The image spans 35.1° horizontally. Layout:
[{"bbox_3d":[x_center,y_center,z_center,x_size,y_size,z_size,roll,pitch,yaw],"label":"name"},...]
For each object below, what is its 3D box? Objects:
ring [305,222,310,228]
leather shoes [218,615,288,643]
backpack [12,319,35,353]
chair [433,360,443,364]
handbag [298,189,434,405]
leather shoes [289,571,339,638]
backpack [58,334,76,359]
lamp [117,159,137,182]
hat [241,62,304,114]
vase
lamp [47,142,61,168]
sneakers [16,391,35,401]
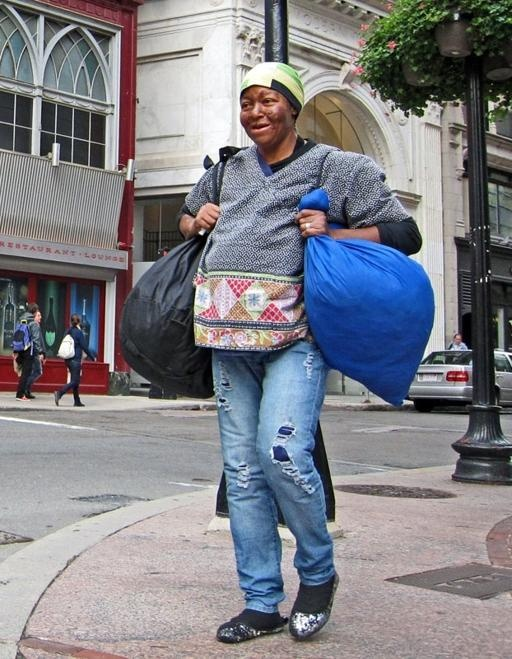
[{"bbox_3d":[0.166,-0.335,2.586,0.004,0.014,0.016,-3,18,-30],"label":"ring"},{"bbox_3d":[-0.017,0.929,2.526,0.219,0.074,0.075,-1,-4,-31],"label":"leather shoes"},{"bbox_3d":[-4.593,0.121,16.065,0.341,0.659,0.477,-1,3,-15],"label":"backpack"},{"bbox_3d":[4.269,0.754,19.028,0.114,0.120,0.140,-4,9,29],"label":"chair"},{"bbox_3d":[0.364,-0.023,2.586,0.420,0.558,0.225,-1,3,-4],"label":"handbag"},{"bbox_3d":[0.177,0.880,2.592,0.091,0.219,0.095,10,-23,32],"label":"leather shoes"},{"bbox_3d":[-3.668,0.338,15.844,0.297,0.501,0.310,-1,3,-11],"label":"backpack"},{"bbox_3d":[-3.464,-4.319,21.793,0.408,0.572,0.558,-1,3,-2],"label":"lamp"},{"bbox_3d":[0.082,-0.842,2.815,0.228,0.157,0.172,-25,38,-31],"label":"hat"},{"bbox_3d":[1.894,-2.600,7.581,0.779,0.238,0.803,0,-13,3],"label":"vase"},{"bbox_3d":[-5.020,-4.430,20.356,0.254,0.693,0.644,-1,3,-14],"label":"lamp"},{"bbox_3d":[-4.744,1.372,16.505,0.491,0.172,0.163,0,0,4],"label":"sneakers"}]
